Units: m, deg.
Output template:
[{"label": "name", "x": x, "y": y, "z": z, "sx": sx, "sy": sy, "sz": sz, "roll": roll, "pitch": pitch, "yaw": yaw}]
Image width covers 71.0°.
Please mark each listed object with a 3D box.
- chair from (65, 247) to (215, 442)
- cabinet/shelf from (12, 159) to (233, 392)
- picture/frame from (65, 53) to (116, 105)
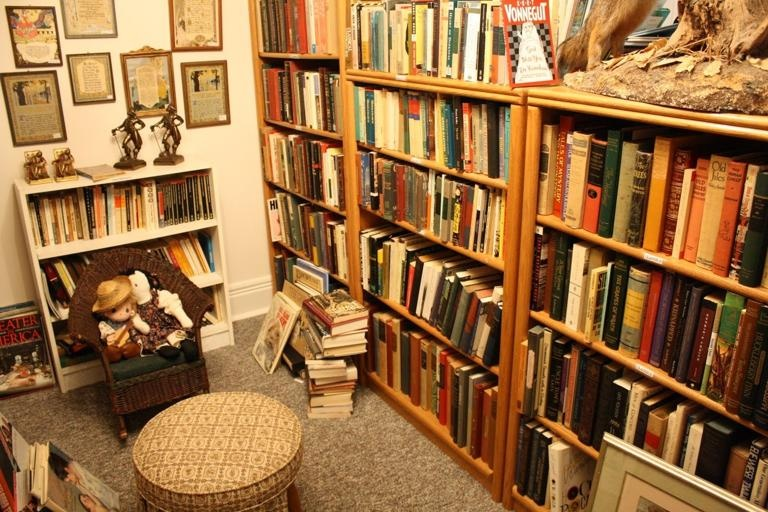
[{"label": "chair", "x": -1.436, "y": 0.529, "z": 3.093, "sx": 0.797, "sy": 0.978, "sz": 0.566, "roll": -14, "pitch": 21, "yaw": -33}, {"label": "cabinet/shelf", "x": -1.671, "y": 0.115, "z": 3.323, "sx": 1.180, "sy": 1.286, "sz": 0.361, "roll": -16, "pitch": 25, "yaw": -32}, {"label": "picture/frame", "x": -1.854, "y": -1.119, "z": 3.386, "sx": 0.281, "sy": 0.339, "sz": 0.022, "roll": -13, "pitch": 20, "yaw": -29}]
